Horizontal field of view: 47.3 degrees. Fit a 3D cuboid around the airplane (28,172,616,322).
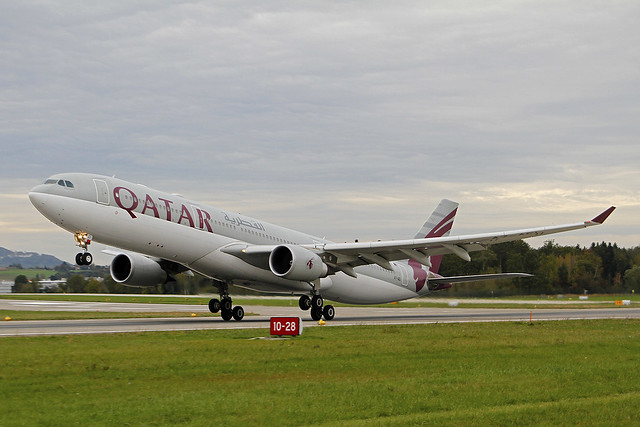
[{"bbox_3d":[-4.533,1.673,36.211,14.927,3.014,15.810,16,-16,-38],"label":"airplane"}]
